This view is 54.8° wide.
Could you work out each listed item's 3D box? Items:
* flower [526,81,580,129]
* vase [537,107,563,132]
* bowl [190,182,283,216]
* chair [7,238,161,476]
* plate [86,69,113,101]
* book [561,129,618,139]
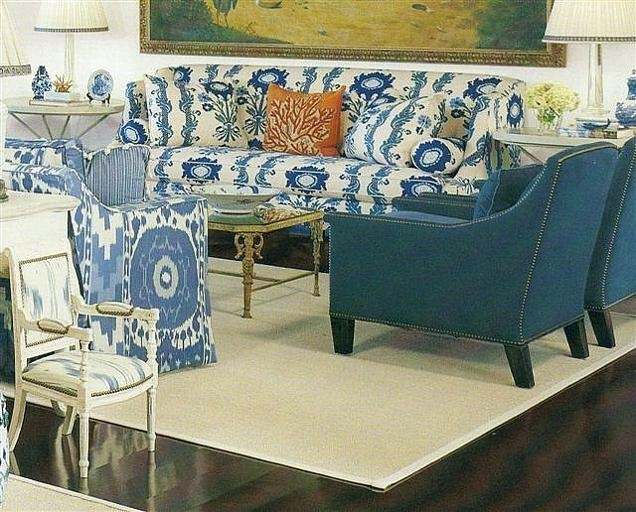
[{"bbox_3d":[1.628,-1.027,4.353,0.407,0.303,0.378,-7,9,-42],"label":"flower"},{"bbox_3d":[1.645,-0.956,4.305,0.173,0.107,0.161,-3,6,-21],"label":"vase"},{"bbox_3d":[-0.511,-0.354,3.875,0.542,0.146,0.506,0,10,0],"label":"bowl"},{"bbox_3d":[-0.793,0.310,1.984,0.484,0.674,0.341,9,16,34],"label":"chair"},{"bbox_3d":[-2.195,-1.729,6.238,0.392,0.298,0.084,3,2,12],"label":"plate"},{"bbox_3d":[1.842,-0.827,4.179,0.155,0.028,0.200,-2,4,-38],"label":"book"}]
